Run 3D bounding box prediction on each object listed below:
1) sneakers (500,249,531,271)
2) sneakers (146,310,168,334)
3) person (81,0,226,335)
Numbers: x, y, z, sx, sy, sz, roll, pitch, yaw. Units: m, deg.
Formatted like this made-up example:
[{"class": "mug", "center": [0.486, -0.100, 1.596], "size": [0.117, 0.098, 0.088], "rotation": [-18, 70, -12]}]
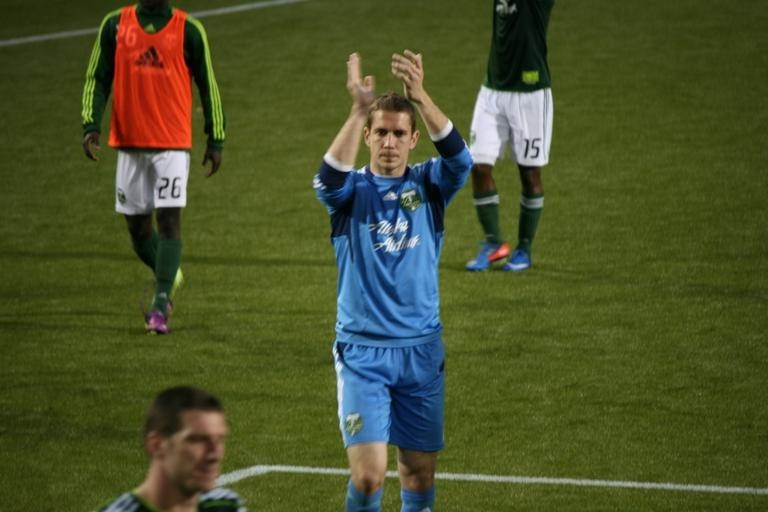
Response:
[{"class": "sneakers", "center": [0.984, 0.028, 9.775], "size": [0.210, 0.139, 0.127], "rotation": [1, 17, 7]}, {"class": "sneakers", "center": [-1.635, 0.477, 9.430], "size": [0.148, 0.162, 0.076], "rotation": [-3, 16, -6]}, {"class": "person", "center": [-1.642, -0.701, 9.459], "size": [1.002, 2.279, 0.575], "rotation": [-5, 16, -12]}]
